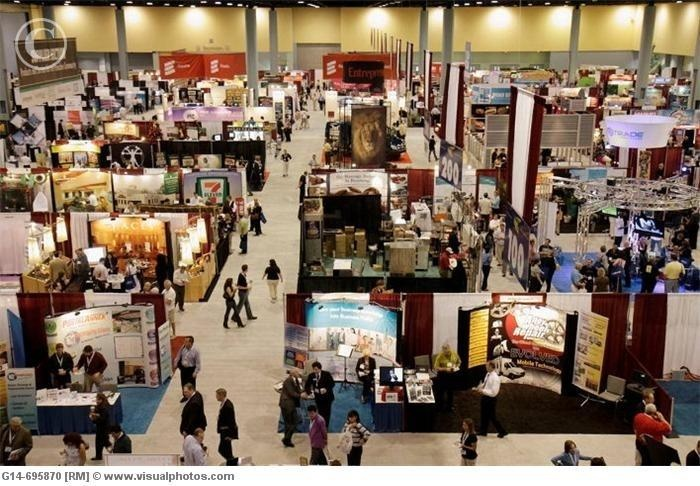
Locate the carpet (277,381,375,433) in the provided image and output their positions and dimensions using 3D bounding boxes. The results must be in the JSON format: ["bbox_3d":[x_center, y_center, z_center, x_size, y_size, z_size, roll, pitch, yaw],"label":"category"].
[{"bbox_3d":[-0.429,2.783,9.290,1.543,0.247,1.436,-4,14,-4],"label":"carpet"}]

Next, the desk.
[{"bbox_3d":[-4.550,2.713,8.739,0.960,0.679,0.381,-3,13,0],"label":"desk"}]

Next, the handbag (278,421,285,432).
[{"bbox_3d":[-1.122,2.991,8.737,0.103,0.072,0.243,-4,14,-4],"label":"handbag"}]

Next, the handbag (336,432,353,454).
[{"bbox_3d":[-0.067,2.703,7.325,0.196,0.280,0.190,0,14,12],"label":"handbag"}]

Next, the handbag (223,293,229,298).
[{"bbox_3d":[-2.702,1.149,11.710,0.099,0.139,0.156,0,1,3],"label":"handbag"}]
